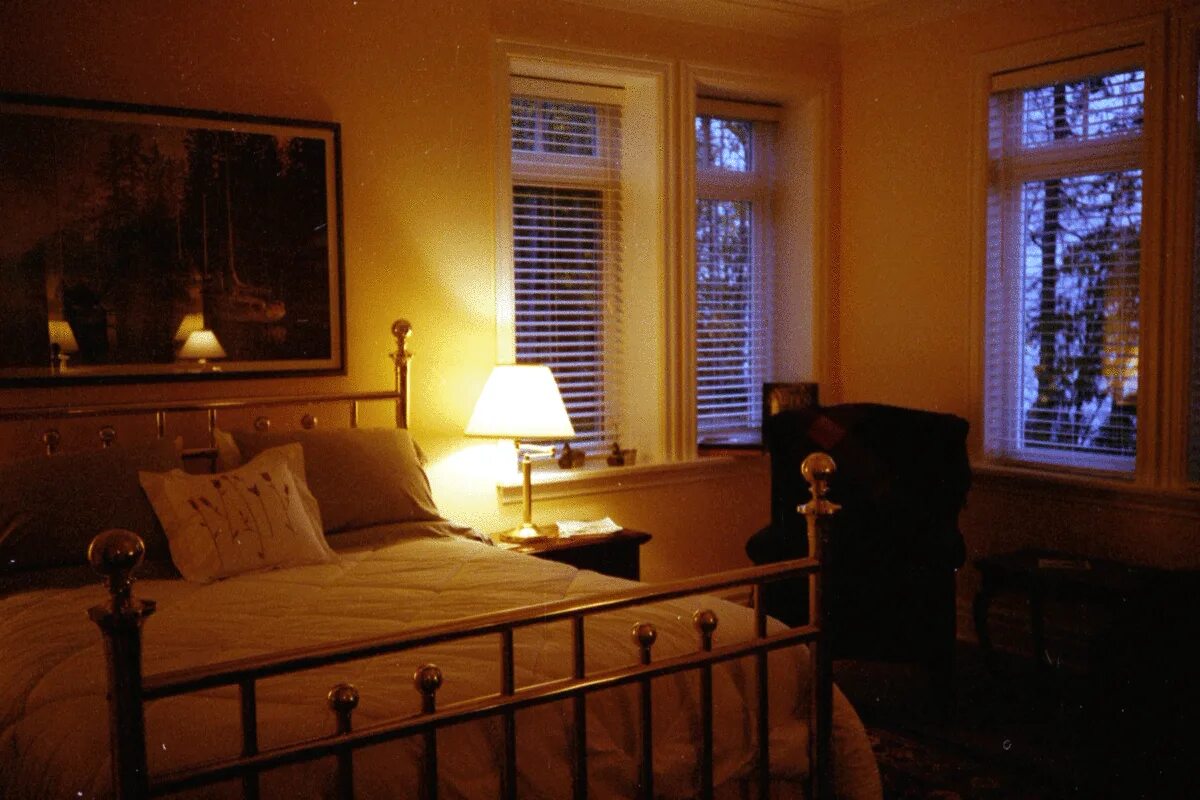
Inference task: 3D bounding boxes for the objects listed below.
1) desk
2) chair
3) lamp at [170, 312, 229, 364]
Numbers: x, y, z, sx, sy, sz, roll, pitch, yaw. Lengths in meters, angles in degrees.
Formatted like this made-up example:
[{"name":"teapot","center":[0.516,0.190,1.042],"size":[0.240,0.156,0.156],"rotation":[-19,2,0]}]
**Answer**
[{"name":"desk","center":[2.107,0.843,4.491],"size":[0.577,0.401,0.770],"rotation":[2,-2,-34]},{"name":"chair","center":[1.181,0.647,4.605],"size":[1.036,1.274,0.793],"rotation":[2,-5,28]},{"name":"lamp","center":[-1.714,-0.265,4.243],"size":[0.189,0.234,0.189],"rotation":[7,14,43]}]
